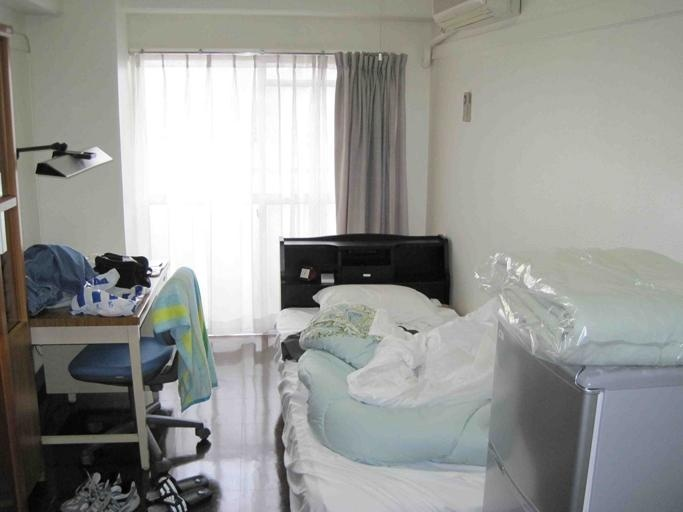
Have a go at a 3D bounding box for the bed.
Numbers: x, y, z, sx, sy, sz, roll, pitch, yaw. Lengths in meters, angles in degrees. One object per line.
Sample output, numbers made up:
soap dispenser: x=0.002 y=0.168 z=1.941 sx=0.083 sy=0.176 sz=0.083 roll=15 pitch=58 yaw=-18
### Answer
bed: x=0.127 y=0.687 z=2.900 sx=0.904 sy=0.869 sz=1.656 roll=-1 pitch=29 yaw=-2

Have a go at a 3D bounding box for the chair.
chair: x=-1.062 y=0.553 z=3.400 sx=0.972 sy=1.275 sz=0.919 roll=3 pitch=3 yaw=-12

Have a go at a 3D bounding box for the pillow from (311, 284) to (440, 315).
pillow: x=0.223 y=0.276 z=3.586 sx=0.494 sy=0.124 sz=0.331 roll=-1 pitch=13 yaw=-13

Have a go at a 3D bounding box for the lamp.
lamp: x=-1.541 y=-0.530 z=2.785 sx=0.421 sy=0.148 sz=0.438 roll=4 pitch=16 yaw=1
